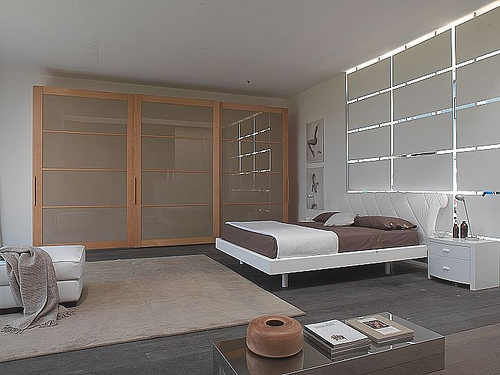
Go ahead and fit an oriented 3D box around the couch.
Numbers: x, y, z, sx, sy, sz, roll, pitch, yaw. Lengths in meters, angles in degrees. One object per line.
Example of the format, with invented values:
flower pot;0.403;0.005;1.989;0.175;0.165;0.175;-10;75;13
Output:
couch;-1.967;0.819;3.182;0.562;0.305;0.745;2;-2;-33

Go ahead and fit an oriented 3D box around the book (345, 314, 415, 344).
book;0.706;0.768;1.800;0.170;0.025;0.172;-1;4;-25

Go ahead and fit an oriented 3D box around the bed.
bed;1.182;0.660;4.359;1.961;0.713;1.580;1;-1;-20

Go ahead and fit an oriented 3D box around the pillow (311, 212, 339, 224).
pillow;1.249;0.500;5.631;0.233;0.063;0.226;-22;1;-33
